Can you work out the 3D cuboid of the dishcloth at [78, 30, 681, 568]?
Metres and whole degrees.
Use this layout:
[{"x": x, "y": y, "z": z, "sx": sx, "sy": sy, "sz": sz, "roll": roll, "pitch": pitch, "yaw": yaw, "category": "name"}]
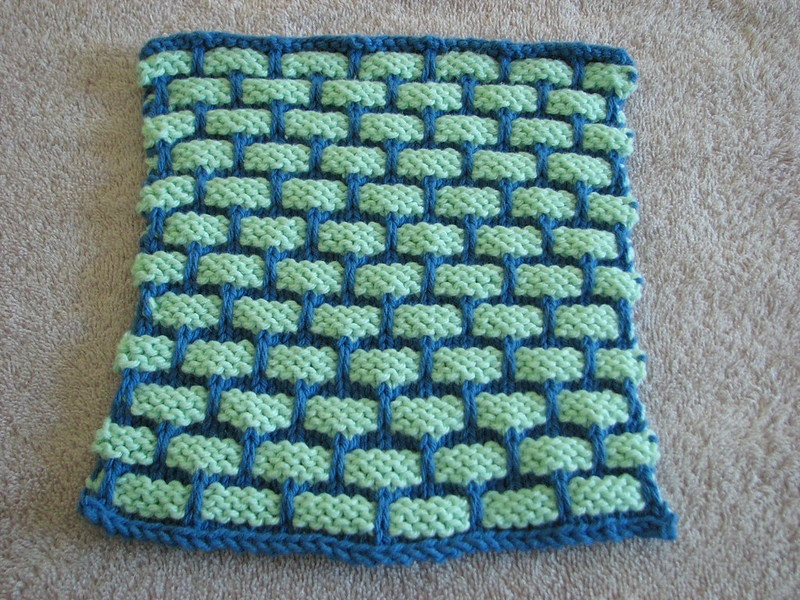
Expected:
[{"x": -0.041, "y": 0.028, "z": 1.530, "sx": 0.925, "sy": 0.080, "sz": 0.900, "roll": 1, "pitch": 81, "yaw": -1, "category": "dishcloth"}]
